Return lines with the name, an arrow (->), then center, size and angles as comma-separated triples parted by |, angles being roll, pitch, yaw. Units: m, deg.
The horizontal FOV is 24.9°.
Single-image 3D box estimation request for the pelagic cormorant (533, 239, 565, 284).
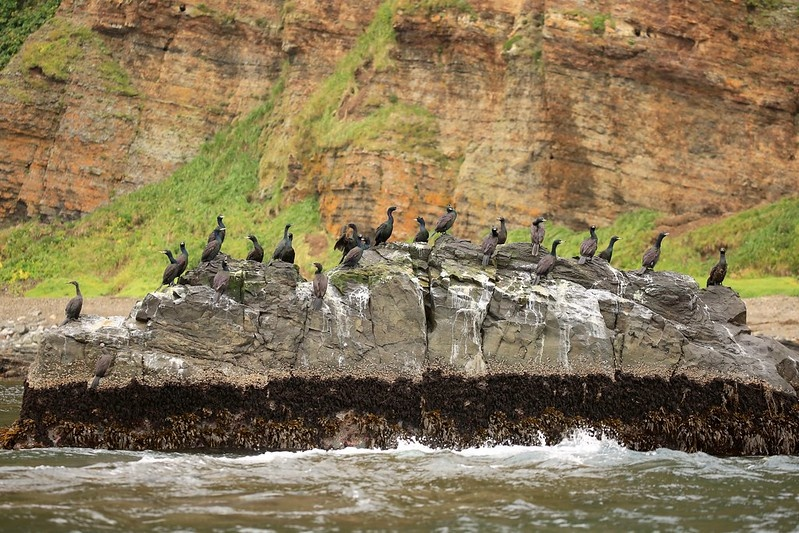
pelagic cormorant -> 6.043, -0.073, 73.933 | 0.969, 1.827, 0.541 | 7, -6, -24
